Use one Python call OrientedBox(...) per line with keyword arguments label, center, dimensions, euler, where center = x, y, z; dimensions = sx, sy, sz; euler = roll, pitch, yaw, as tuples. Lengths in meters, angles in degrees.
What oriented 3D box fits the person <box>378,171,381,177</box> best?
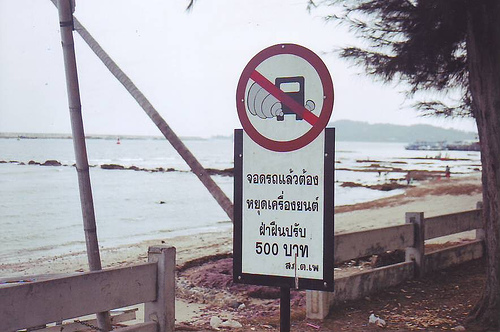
OrientedBox(label="person", center=(19.842, 1.183, 96.012), dimensions=(0.233, 1.178, 0.593), euler=(-6, 8, -32))
